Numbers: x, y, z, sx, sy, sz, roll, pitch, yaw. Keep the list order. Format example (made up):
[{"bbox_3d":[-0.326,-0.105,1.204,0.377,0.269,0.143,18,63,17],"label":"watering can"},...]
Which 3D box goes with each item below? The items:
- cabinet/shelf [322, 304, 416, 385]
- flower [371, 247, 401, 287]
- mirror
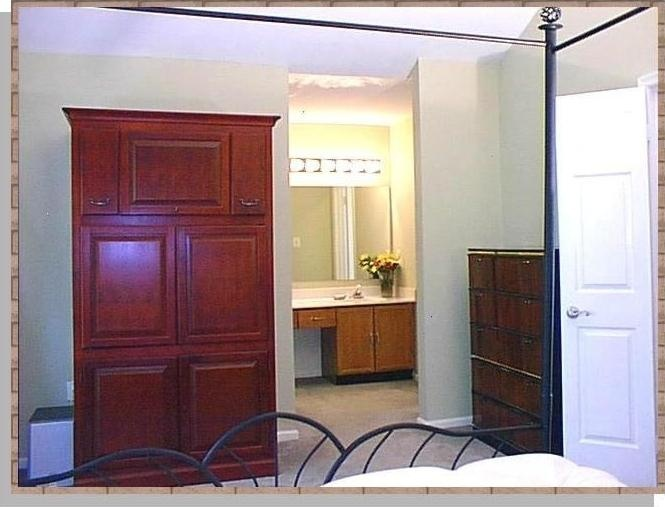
[{"bbox_3d":[0.166,0.400,3.023,0.488,0.446,0.289,1,-11,-13],"label":"cabinet/shelf"},{"bbox_3d":[0.350,0.113,3.923,0.135,0.161,0.135,-5,-19,15],"label":"flower"},{"bbox_3d":[0.046,-0.081,3.908,0.701,0.686,0.044,0,-9,-4],"label":"mirror"}]
